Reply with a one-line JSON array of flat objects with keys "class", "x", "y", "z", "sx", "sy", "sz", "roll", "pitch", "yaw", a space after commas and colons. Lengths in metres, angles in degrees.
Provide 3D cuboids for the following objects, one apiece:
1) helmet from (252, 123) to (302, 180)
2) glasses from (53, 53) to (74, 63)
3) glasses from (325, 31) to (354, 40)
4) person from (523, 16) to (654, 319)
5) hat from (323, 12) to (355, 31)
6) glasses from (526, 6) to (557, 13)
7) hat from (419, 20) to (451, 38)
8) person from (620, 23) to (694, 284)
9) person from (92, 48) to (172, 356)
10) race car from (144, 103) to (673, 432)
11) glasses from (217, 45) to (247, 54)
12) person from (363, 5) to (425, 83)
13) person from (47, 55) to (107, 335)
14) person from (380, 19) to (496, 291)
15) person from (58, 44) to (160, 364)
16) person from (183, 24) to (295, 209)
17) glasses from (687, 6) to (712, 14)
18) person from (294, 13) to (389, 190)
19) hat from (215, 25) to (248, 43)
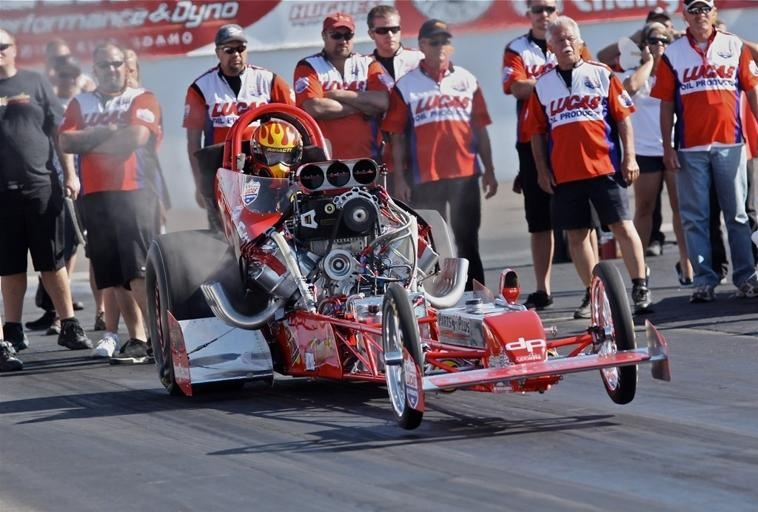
[{"class": "helmet", "x": -0.808, "y": -0.821, "z": 8.750, "sx": 0.356, "sy": 0.353, "sz": 0.437, "roll": -1, "pitch": 21, "yaw": -13}, {"class": "glasses", "x": -3.535, "y": -2.232, "z": 12.598, "sx": 0.214, "sy": 0.153, "sz": 0.200, "roll": 1, "pitch": 16, "yaw": -10}, {"class": "glasses", "x": -0.333, "y": -2.035, "z": 10.479, "sx": 0.230, "sy": 0.081, "sz": 0.086, "roll": -8, "pitch": 10, "yaw": -27}, {"class": "person", "x": 1.834, "y": -0.811, "z": 10.216, "sx": 1.037, "sy": 2.606, "sz": 0.756, "roll": -6, "pitch": 6, "yaw": 29}, {"class": "hat", "x": -0.380, "y": -2.169, "z": 10.501, "sx": 0.275, "sy": 0.185, "sz": 0.252, "roll": -4, "pitch": 9, "yaw": -5}, {"class": "glasses", "x": 1.586, "y": -2.384, "z": 10.961, "sx": 0.247, "sy": 0.075, "sz": 0.168, "roll": -3, "pitch": 9, "yaw": 3}, {"class": "hat", "x": 0.524, "y": -2.150, "z": 10.683, "sx": 0.288, "sy": 0.172, "sz": 0.311, "roll": -3, "pitch": 9, "yaw": 2}, {"class": "person", "x": 2.797, "y": -1.058, "z": 11.991, "sx": 0.853, "sy": 2.803, "sz": 0.936, "roll": -8, "pitch": 9, "yaw": -16}, {"class": "person", "x": -2.349, "y": -0.426, "z": 10.251, "sx": 0.951, "sy": 2.858, "sz": 0.868, "roll": 5, "pitch": 10, "yaw": 32}, {"class": "race car", "x": -0.169, "y": -0.030, "z": 8.161, "sx": 3.743, "sy": 2.152, "sz": 1.682, "roll": 4, "pitch": 12, "yaw": 40}, {"class": "glasses", "x": -1.298, "y": -1.852, "z": 10.153, "sx": 0.223, "sy": 0.089, "sz": 0.090, "roll": -8, "pitch": 10, "yaw": -29}, {"class": "person", "x": 0.096, "y": -2.143, "z": 11.242, "sx": 0.553, "sy": 1.194, "sz": 0.852, "roll": 3, "pitch": 22, "yaw": -3}, {"class": "person", "x": -3.168, "y": -0.729, "z": 12.314, "sx": 0.901, "sy": 3.266, "sz": 0.891, "roll": 4, "pitch": -13, "yaw": -14}, {"class": "person", "x": 0.563, "y": -0.819, "z": 10.827, "sx": 1.105, "sy": 2.788, "sz": 0.663, "roll": -4, "pitch": 8, "yaw": -2}, {"class": "person", "x": -2.387, "y": -0.626, "z": 10.378, "sx": 1.072, "sy": 3.136, "sz": 0.782, "roll": -3, "pitch": 3, "yaw": -3}, {"class": "person", "x": -1.190, "y": -0.933, "z": 10.103, "sx": 0.995, "sy": 2.405, "sz": 0.740, "roll": -1, "pitch": -23, "yaw": -12}, {"class": "glasses", "x": 2.994, "y": -2.296, "z": 10.557, "sx": 0.211, "sy": 0.084, "sz": 0.069, "roll": -2, "pitch": 9, "yaw": 5}, {"class": "person", "x": -0.307, "y": -1.092, "z": 10.761, "sx": 0.850, "sy": 2.373, "sz": 0.585, "roll": -7, "pitch": 8, "yaw": -12}, {"class": "hat", "x": -1.340, "y": -1.988, "z": 10.169, "sx": 0.253, "sy": 0.183, "sz": 0.278, "roll": -3, "pitch": 9, "yaw": 2}]
